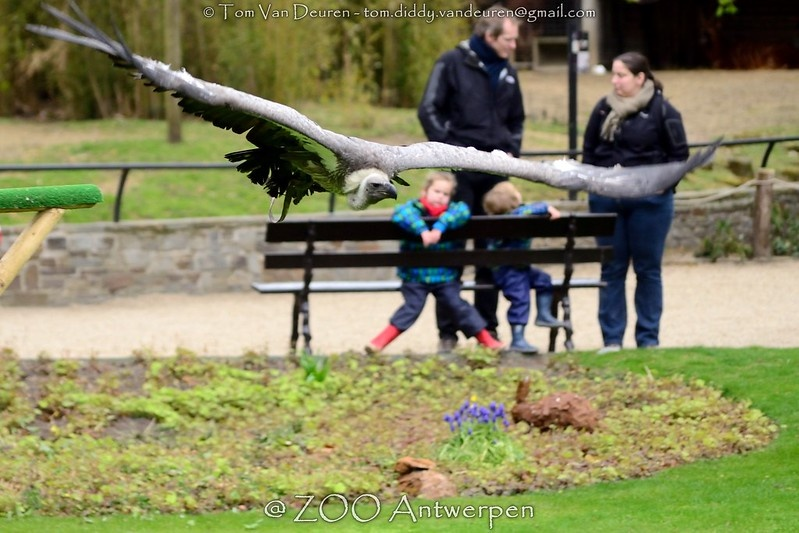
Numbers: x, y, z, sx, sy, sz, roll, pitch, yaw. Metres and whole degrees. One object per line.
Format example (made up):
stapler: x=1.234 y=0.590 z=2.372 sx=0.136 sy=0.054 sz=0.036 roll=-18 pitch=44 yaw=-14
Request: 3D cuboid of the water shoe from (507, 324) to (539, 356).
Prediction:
water shoe: x=1.148 y=0.714 z=18.731 sx=0.378 sy=0.296 sz=0.183 roll=1 pitch=5 yaw=9

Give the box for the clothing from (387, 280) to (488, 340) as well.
clothing: x=0.387 y=0.442 z=18.923 sx=1.128 sy=0.297 sz=1.098 roll=1 pitch=19 yaw=2

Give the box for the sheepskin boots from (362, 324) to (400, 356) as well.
sheepskin boots: x=-0.167 y=0.718 z=18.690 sx=0.209 sy=0.367 sz=0.115 roll=44 pitch=-13 yaw=3

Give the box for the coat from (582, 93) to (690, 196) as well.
coat: x=2.204 y=-1.085 z=18.460 sx=1.255 sy=0.911 sz=0.645 roll=1 pitch=-7 yaw=16

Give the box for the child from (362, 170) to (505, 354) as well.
child: x=0.364 y=0.009 z=18.844 sx=1.928 sy=2.108 sz=1.018 roll=1 pitch=-24 yaw=-2

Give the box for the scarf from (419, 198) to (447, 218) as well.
scarf: x=0.318 y=-0.522 z=18.607 sx=0.188 sy=0.084 sz=0.218 roll=10 pitch=5 yaw=-41
